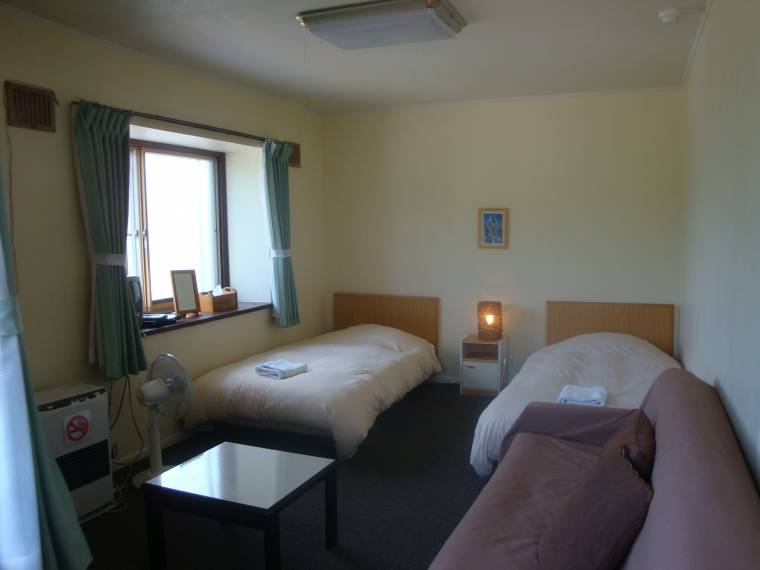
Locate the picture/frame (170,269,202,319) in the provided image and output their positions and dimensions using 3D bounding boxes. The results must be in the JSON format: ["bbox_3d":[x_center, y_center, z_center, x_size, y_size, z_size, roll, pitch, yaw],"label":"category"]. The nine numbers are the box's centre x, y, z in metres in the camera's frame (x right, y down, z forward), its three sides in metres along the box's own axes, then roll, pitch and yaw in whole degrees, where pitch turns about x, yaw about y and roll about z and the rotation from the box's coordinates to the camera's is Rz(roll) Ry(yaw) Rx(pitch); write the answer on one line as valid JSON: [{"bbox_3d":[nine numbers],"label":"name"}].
[{"bbox_3d":[-1.700,0.058,4.940,0.026,0.355,0.245,-9,-1,26],"label":"picture/frame"}]

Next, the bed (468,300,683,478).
[{"bbox_3d":[1.710,0.619,4.663,1.062,0.878,1.876,2,9,32],"label":"bed"}]

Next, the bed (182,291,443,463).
[{"bbox_3d":[-0.276,0.729,4.913,1.172,0.776,1.661,2,5,29],"label":"bed"}]

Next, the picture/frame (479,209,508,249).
[{"bbox_3d":[1.138,-0.577,5.744,0.288,0.426,0.028,1,-18,10],"label":"picture/frame"}]

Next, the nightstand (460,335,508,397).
[{"bbox_3d":[1.058,0.786,5.728,0.468,0.704,0.516,1,2,22],"label":"nightstand"}]

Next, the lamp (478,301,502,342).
[{"bbox_3d":[1.100,0.343,5.759,0.236,0.401,0.233,-2,5,-14],"label":"lamp"}]
